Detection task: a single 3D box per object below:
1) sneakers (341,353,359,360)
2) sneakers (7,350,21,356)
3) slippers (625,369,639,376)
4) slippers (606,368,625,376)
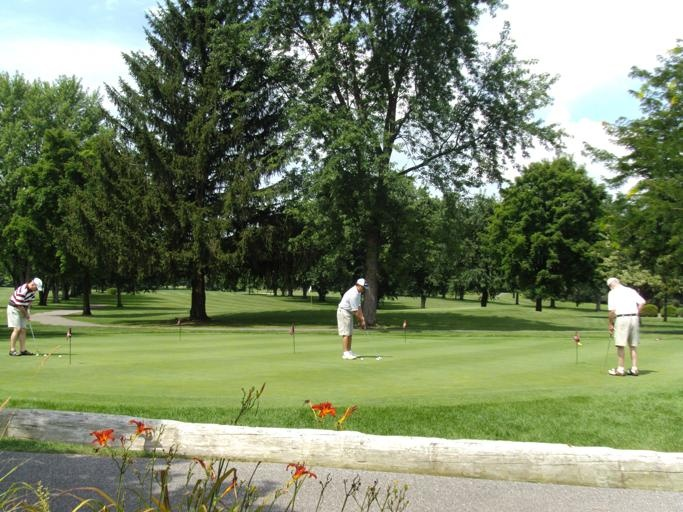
[{"bbox_3d":[0.194,2.418,16.323,0.410,0.181,0.158,-1,-3,20],"label":"sneakers"},{"bbox_3d":[-8.019,2.383,16.504,0.238,0.104,0.121,-2,-6,24],"label":"sneakers"},{"bbox_3d":[6.016,2.404,13.931,0.097,0.126,0.281,1,0,10],"label":"slippers"},{"bbox_3d":[5.700,2.389,13.962,0.334,0.146,0.370,1,-3,22],"label":"slippers"}]
